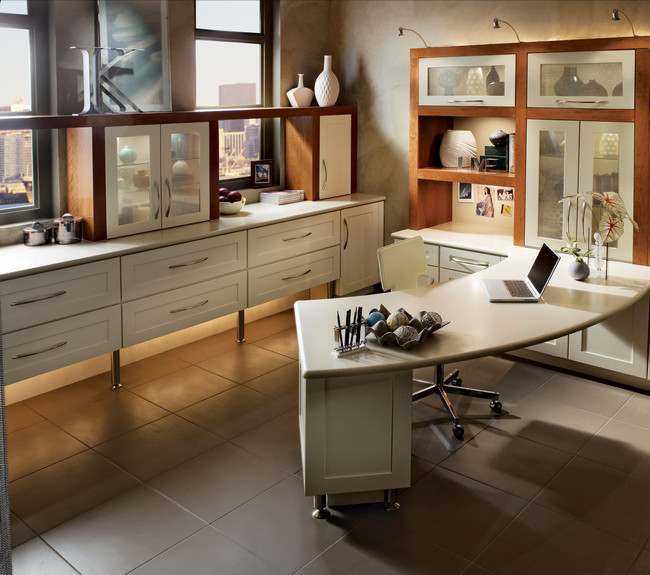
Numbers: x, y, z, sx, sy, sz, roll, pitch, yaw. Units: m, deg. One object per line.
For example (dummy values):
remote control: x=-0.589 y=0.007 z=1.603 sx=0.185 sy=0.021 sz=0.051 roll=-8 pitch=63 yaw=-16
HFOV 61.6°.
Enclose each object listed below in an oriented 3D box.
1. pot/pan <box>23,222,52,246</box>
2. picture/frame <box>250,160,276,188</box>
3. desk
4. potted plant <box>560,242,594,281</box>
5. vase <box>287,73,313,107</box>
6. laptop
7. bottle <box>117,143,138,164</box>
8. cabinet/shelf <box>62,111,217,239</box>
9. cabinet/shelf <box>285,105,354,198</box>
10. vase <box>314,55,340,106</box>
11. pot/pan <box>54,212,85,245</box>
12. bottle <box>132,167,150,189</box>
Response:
pot/pan: x=-1.752 y=-0.329 z=3.373 sx=0.128 sy=0.133 sz=0.174 roll=2 pitch=5 yaw=14
picture/frame: x=-0.562 y=-1.014 z=4.822 sx=0.241 sy=0.284 sz=0.028 roll=-1 pitch=12 yaw=-36
desk: x=0.623 y=0.474 z=2.700 sx=1.779 sy=0.863 sz=0.881 roll=-10 pitch=15 yaw=-31
potted plant: x=1.525 y=-0.154 z=3.300 sx=0.186 sy=0.301 sz=0.208 roll=0 pitch=10 yaw=18
vase: x=-0.214 y=-1.742 z=4.781 sx=0.230 sy=0.338 sz=0.464 roll=-4 pitch=13 yaw=-11
laptop: x=1.084 y=-0.050 z=2.950 sx=0.340 sy=0.241 sz=0.407 roll=11 pitch=-2 yaw=15
bottle: x=-1.237 y=-0.844 z=3.415 sx=0.101 sy=0.131 sz=0.108 roll=3 pitch=16 yaw=-1
cabinet/shelf: x=-1.213 y=-0.801 z=3.729 sx=0.378 sy=0.767 sz=0.963 roll=23 pitch=28 yaw=35
cabinet/shelf: x=-0.039 y=-1.201 z=4.858 sx=0.630 sy=0.795 sz=0.360 roll=-2 pitch=12 yaw=-2
vase: x=0.013 y=-1.840 z=4.846 sx=0.212 sy=0.443 sz=0.248 roll=-3 pitch=13 yaw=-4
pot/pan: x=-1.557 y=-0.376 z=3.398 sx=0.176 sy=0.188 sz=0.167 roll=9 pitch=18 yaw=21
bottle: x=-1.189 y=-0.711 z=3.522 sx=0.083 sy=0.125 sz=0.043 roll=-22 pitch=28 yaw=-36
